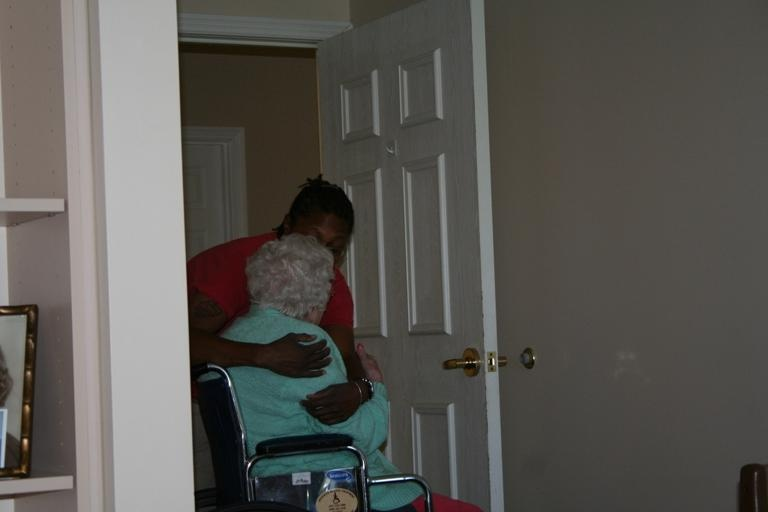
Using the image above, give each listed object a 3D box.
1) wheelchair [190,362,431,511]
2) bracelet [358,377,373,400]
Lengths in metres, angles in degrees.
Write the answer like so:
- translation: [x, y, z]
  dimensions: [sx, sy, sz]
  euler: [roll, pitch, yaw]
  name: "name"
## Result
- translation: [-0.260, 0.518, 2.423]
  dimensions: [0.594, 0.634, 0.426]
  euler: [-5, -4, -18]
  name: "wheelchair"
- translation: [-0.052, 0.395, 2.344]
  dimensions: [0.017, 0.055, 0.059]
  euler: [-27, -40, -18]
  name: "bracelet"
